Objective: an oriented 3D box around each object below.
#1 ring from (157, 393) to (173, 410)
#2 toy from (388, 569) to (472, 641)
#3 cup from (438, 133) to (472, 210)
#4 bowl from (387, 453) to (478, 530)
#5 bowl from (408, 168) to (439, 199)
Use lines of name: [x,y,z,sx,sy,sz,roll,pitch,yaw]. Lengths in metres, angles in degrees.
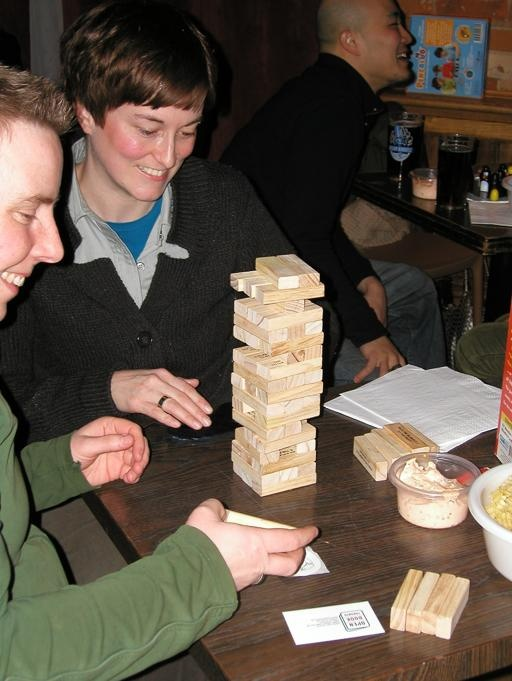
ring: [-0.174,0.116,1.142,0.023,0.022,0.023,6,38,-5]
toy: [0.197,0.296,0.666,0.058,0.023,0.076,2,12,27]
cup: [0.802,-0.677,2.408,0.160,0.239,0.147,-1,21,0]
bowl: [0.257,0.219,0.855,0.120,0.061,0.117,-6,22,3]
bowl: [0.756,-0.670,2.525,0.155,0.090,0.145,-1,32,1]
